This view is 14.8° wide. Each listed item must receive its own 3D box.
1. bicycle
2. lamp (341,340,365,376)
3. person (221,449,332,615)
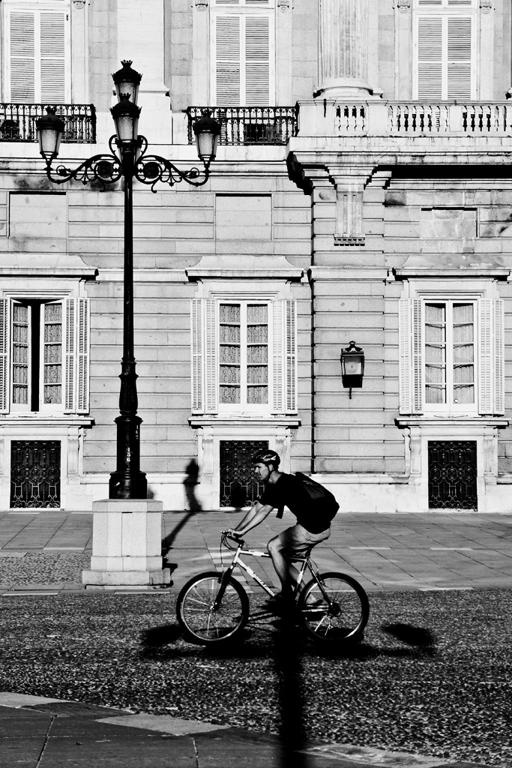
[{"bbox_3d":[0.136,2.149,19.207,1.753,1.284,0.978,2,-15,-4],"label":"bicycle"},{"bbox_3d":[1.601,-0.399,32.814,0.443,0.848,0.504,0,1,1],"label":"lamp"},{"bbox_3d":[0.371,1.393,19.005,1.362,2.151,0.820,2,-14,-3],"label":"person"}]
